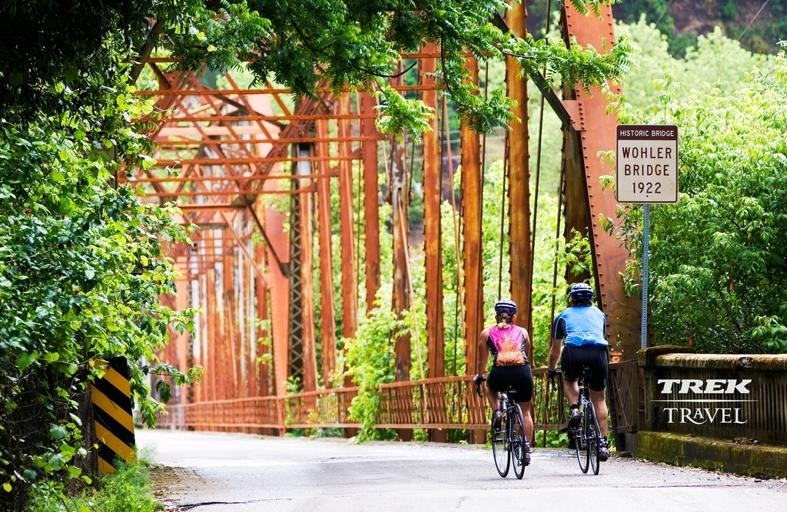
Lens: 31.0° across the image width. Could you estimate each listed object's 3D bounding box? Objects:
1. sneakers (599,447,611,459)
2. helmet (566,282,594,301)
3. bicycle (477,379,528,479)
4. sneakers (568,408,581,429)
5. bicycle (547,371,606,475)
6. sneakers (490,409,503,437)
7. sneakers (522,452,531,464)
[{"bbox_3d":[2.551,2.369,17.055,0.081,0.112,0.248,-1,-22,2],"label":"sneakers"},{"bbox_3d":[2.327,0.449,17.542,0.238,0.267,0.322,0,8,9],"label":"helmet"},{"bbox_3d":[1.402,2.139,17.195,0.351,1.078,1.062,-1,-5,-1],"label":"bicycle"},{"bbox_3d":[2.198,1.980,17.157,0.104,0.176,0.265,5,-49,0],"label":"sneakers"},{"bbox_3d":[2.343,1.987,17.158,0.422,1.265,0.732,-2,-4,7],"label":"bicycle"},{"bbox_3d":[1.282,2.032,17.324,0.137,0.308,0.170,3,5,16],"label":"sneakers"},{"bbox_3d":[1.570,2.370,16.710,0.093,0.137,0.102,0,-5,-15],"label":"sneakers"}]
